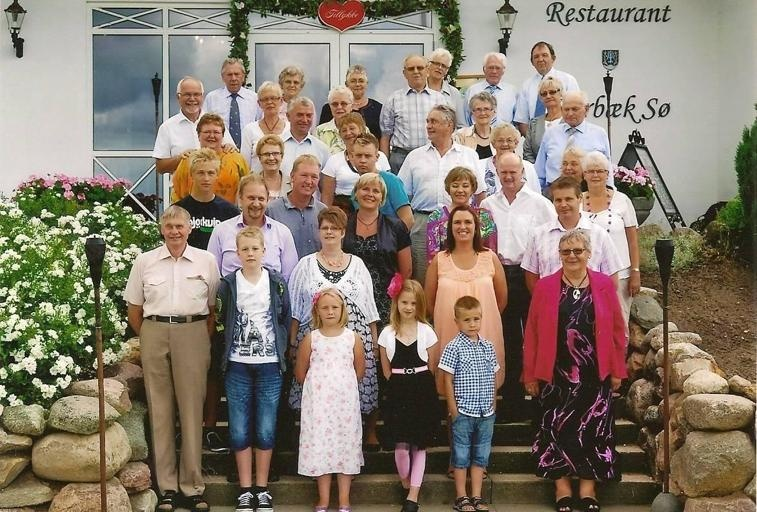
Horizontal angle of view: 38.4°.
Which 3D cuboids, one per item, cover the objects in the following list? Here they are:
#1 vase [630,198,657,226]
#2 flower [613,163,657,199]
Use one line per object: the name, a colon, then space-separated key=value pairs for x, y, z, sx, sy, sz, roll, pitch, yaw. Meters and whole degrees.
vase: x=3.874 y=-0.680 z=16.010 sx=0.437 sy=0.452 sz=0.430 roll=-2 pitch=7 yaw=-12
flower: x=3.723 y=-1.069 z=15.985 sx=0.538 sy=0.363 sz=0.499 roll=2 pitch=27 yaw=3
